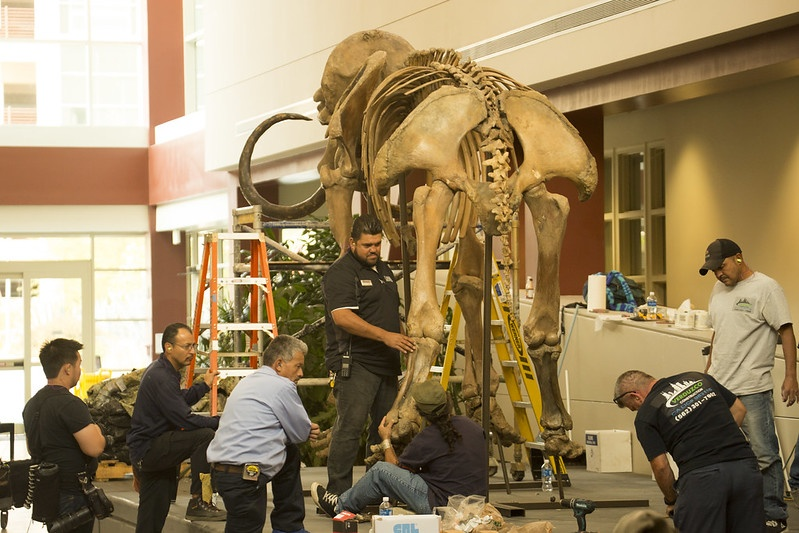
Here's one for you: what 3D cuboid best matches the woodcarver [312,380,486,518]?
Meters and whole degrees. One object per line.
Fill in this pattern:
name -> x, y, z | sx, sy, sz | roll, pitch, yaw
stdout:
woodcarver -> -0.079, 1.621, 7.527 | 1.370, 1.153, 0.897 | 5, 0, -2

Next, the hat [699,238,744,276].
hat -> 3.007, -0.080, 7.986 | 0.417, 0.259, 0.273 | -28, 4, -13

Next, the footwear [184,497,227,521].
footwear -> -1.869, 2.320, 8.189 | 0.471, 0.288, 0.178 | 0, -5, 6

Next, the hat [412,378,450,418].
hat -> 0.236, 1.068, 7.232 | 0.263, 0.140, 0.374 | -10, 28, -18
